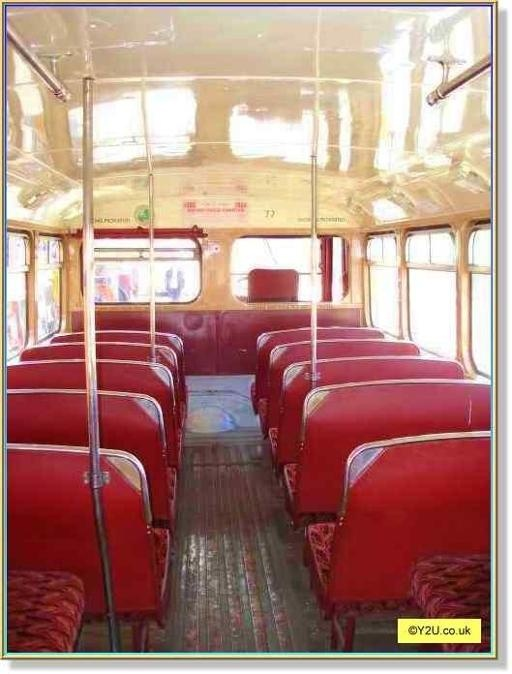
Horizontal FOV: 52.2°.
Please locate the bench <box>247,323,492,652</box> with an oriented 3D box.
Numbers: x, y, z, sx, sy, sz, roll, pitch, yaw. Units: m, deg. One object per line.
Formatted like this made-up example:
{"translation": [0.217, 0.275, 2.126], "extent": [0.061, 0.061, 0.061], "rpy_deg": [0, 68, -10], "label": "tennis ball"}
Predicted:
{"translation": [0.618, 0.625, 2.429], "extent": [0.712, 0.864, 1.290], "rpy_deg": [0, 0, 0], "label": "bench"}
